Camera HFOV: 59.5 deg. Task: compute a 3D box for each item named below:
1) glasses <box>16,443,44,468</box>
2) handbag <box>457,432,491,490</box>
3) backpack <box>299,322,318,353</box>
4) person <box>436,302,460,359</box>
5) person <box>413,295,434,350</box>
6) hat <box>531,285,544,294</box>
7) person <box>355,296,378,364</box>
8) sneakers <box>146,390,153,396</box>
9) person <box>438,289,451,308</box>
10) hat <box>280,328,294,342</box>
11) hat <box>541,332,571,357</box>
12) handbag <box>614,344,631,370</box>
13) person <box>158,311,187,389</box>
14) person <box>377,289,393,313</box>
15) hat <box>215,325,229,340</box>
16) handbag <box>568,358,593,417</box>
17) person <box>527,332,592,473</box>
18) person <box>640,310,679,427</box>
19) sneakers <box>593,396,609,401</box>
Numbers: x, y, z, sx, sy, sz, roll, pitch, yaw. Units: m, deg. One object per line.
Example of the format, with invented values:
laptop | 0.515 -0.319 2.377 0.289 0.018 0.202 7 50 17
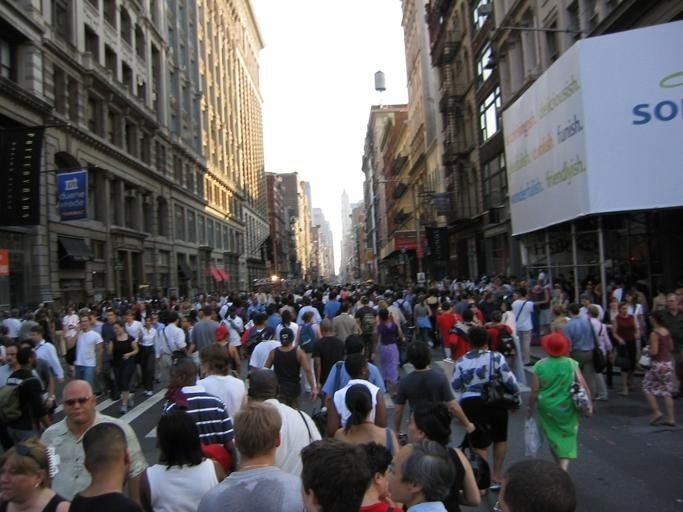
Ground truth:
glasses | -3.087 2.000 5.994 0.177 0.259 0.069 9 46 36
handbag | 1.595 2.511 7.287 0.375 0.747 0.527 0 -18 3
backpack | -0.772 1.833 13.477 0.398 0.699 0.354 -5 15 15
person | 2.535 1.893 14.375 0.529 1.604 0.523 8 25 37
person | 2.419 1.951 17.658 0.484 1.627 0.479 -4 17 2
hat | 6.354 1.030 19.418 0.308 0.340 0.244 -1 9 -19
person | 0.697 1.864 15.165 0.542 1.908 0.579 5 31 15
sneakers | -4.788 3.417 14.906 0.099 0.081 0.177 3 6 -3
person | 3.028 1.258 17.681 0.487 0.493 1.429 -4 1 11
hat | -0.902 1.323 10.081 0.161 0.245 0.242 4 40 1
hat | 3.136 1.313 8.757 0.358 0.342 0.295 -6 -7 17
handbag | 5.944 2.156 12.608 0.298 0.499 1.122 -6 -7 25
person | -3.897 2.280 13.820 0.709 1.975 0.643 8 12 12
person | 1.236 1.271 16.798 0.318 0.355 1.030 6 6 7
hat | -2.148 1.393 10.744 0.203 0.254 0.376 -2 -7 -13
handbag | 3.497 1.940 8.733 0.226 0.818 0.552 -6 -7 28
person | 3.244 2.209 8.865 0.793 2.237 0.675 -2 10 12
person | 5.884 2.065 11.146 0.536 2.015 1.049 -6 -7 26
sneakers | 5.382 2.970 12.402 0.290 0.147 0.113 1 1 16
